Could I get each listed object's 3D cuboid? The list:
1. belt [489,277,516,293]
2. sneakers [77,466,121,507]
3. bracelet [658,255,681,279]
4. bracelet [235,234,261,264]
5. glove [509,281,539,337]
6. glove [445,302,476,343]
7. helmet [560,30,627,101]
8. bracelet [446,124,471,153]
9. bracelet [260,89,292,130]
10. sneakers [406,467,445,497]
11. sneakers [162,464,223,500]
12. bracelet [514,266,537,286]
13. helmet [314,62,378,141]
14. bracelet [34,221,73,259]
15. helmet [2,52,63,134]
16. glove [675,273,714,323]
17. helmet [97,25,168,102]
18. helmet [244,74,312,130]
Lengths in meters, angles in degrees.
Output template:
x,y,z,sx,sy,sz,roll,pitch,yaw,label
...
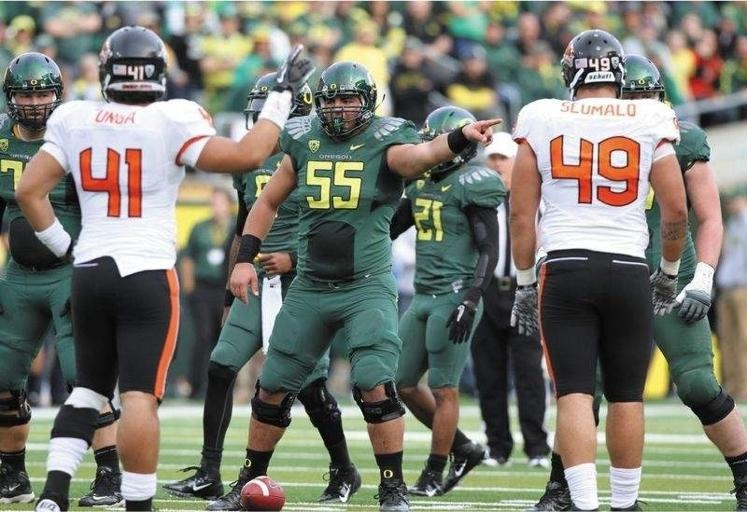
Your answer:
x,y,z,sx,sy,sz,roll,pitch,yaw,label
1.189,0.269,9.322,0.162,0.155,0.042,3,-27,3,belt
-1.850,1.599,6.985,0.163,0.196,0.431,-2,-12,8,sneakers
1.900,0.061,6.489,0.130,0.115,0.104,7,-1,4,bracelet
-0.854,-0.041,6.954,0.145,0.204,0.139,10,-27,20,bracelet
0.964,0.356,6.528,0.282,0.288,0.081,1,5,33,glove
0.606,0.481,7.239,0.174,0.313,0.091,26,-15,-22,glove
1.342,-1.181,6.231,0.341,0.362,0.423,0,16,6,helmet
0.518,-0.707,6.292,0.143,0.135,0.163,-8,-14,-26,bracelet
-0.567,-0.891,6.377,0.177,0.233,0.242,24,-8,2,bracelet
0.390,1.695,7.570,0.128,0.157,0.368,1,-13,25,sneakers
-1.286,1.645,7.404,0.481,0.246,0.190,8,-2,-4,sneakers
0.967,0.129,6.457,0.127,0.125,0.124,0,2,-14,bracelet
-0.186,-1.038,6.756,0.409,0.485,0.522,-5,3,20,helmet
-2.073,-0.090,6.543,0.198,0.146,0.138,47,-3,-19,bracelet
-2.349,-1.186,7.284,0.407,0.473,0.533,-1,9,-7,helmet
2.113,0.302,6.698,0.214,0.288,0.141,11,-25,-4,glove
-1.468,-1.166,6.284,0.380,0.402,0.494,0,-1,-7,helmet
-0.752,-1.187,7.813,0.577,0.440,0.441,-1,3,-3,helmet
